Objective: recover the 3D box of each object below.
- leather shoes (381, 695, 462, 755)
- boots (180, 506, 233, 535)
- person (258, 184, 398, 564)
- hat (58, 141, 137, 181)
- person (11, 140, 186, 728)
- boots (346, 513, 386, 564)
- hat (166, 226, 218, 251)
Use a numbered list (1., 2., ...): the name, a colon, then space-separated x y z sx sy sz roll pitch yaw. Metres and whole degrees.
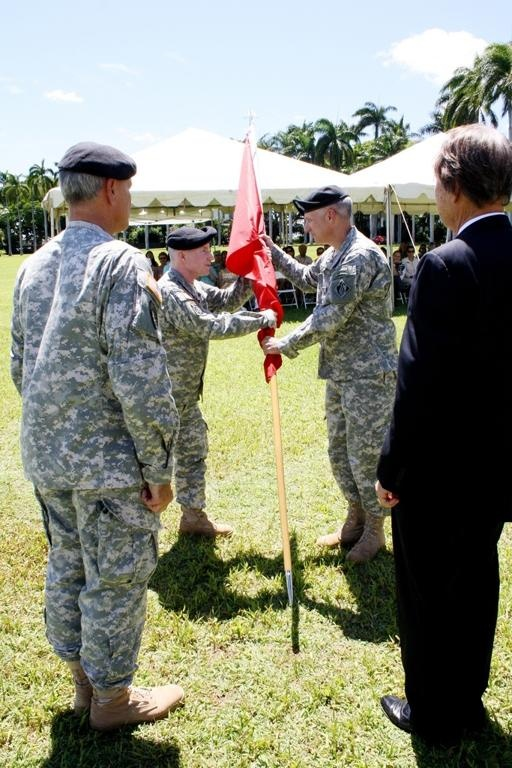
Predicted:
1. leather shoes: 0.598 1.209 2.459 0.103 0.112 0.287 -10 13 -18
2. boots: -0.255 0.824 4.115 0.389 0.216 0.121 -1 3 -5
3. person: 0.474 -0.040 3.682 0.601 1.964 1.028 -13 19 -36
4. hat: -0.511 -0.714 2.193 0.247 0.120 0.244 -4 14 -11
5. person: -0.555 0.238 2.378 0.468 2.056 0.559 -14 20 -37
6. boots: 0.605 0.830 3.694 0.111 0.190 0.299 8 16 40
7. hat: -0.360 -0.757 3.655 0.175 0.070 0.200 -17 11 -15
